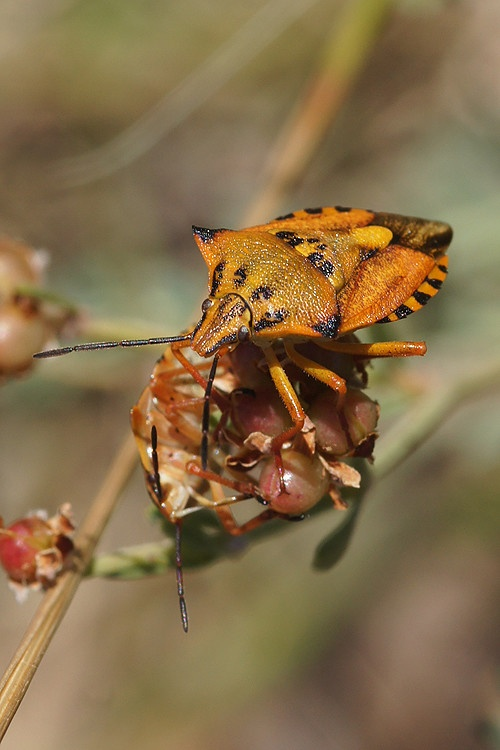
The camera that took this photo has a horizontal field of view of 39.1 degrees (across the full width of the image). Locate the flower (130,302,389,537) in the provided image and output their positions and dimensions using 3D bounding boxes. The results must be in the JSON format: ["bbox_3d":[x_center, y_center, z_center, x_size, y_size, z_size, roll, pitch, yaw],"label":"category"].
[{"bbox_3d":[0.028,0.071,1.094,0.366,0.117,0.333,32,89,1],"label":"flower"}]
